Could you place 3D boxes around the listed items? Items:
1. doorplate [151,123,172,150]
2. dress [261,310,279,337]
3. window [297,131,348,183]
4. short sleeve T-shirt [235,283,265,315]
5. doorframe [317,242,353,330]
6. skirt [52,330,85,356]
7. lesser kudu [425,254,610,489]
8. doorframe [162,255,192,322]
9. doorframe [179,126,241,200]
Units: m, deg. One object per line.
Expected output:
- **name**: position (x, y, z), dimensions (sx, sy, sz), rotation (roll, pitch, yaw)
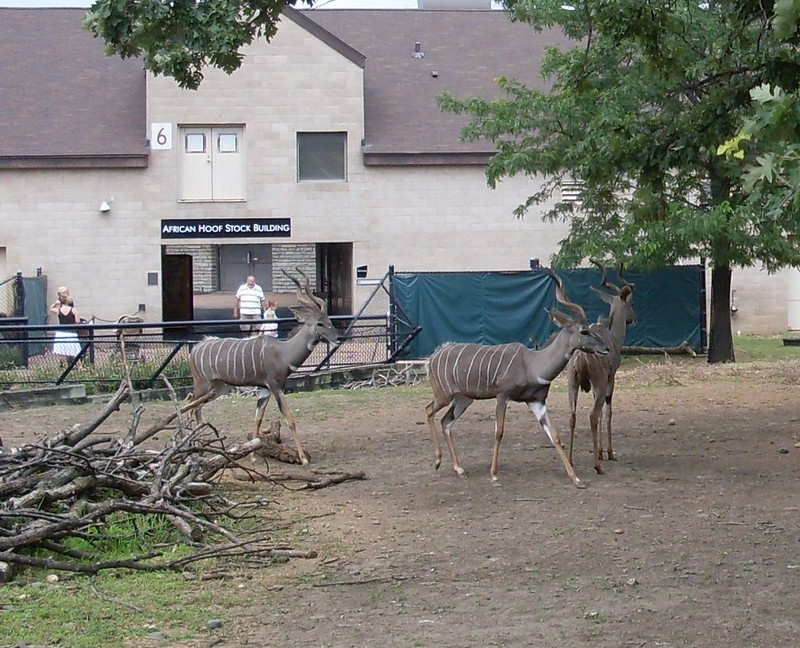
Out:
- **doorplate**: position (-6.052, -4.725, 30.980), dimensions (0.587, 0.841, 0.065), rotation (0, -4, -6)
- **dress**: position (-2.479, 0.009, 23.273), dimensions (0.291, 0.411, 0.901), rotation (1, -14, -7)
- **window**: position (-2.030, -4.298, 31.762), dimensions (1.293, 1.368, 0.125), rotation (0, -11, -4)
- **short sleeve T-shirt**: position (-3.250, -0.588, 26.617), dimensions (0.774, 0.976, 0.532), rotation (1, -15, -11)
- **doorframe**: position (-1.654, -1.015, 31.960), dimensions (0.350, 2.321, 2.070), rotation (-4, 7, -24)
- **skirt**: position (-5.846, 0.377, 21.542), dimensions (0.428, 0.468, 0.111), rotation (2, -7, -13)
- **lesser kudu**: position (1.345, 0.647, 15.059), dimensions (2.112, 2.623, 0.993), rotation (1, 8, 7)
- **doorframe**: position (-6.276, -1.017, 34.434), dimensions (0.852, 2.213, 0.253), rotation (-5, 35, -17)
- **doorframe**: position (-4.934, -4.085, 31.372), dimensions (1.681, 2.137, 0.213), rotation (0, -1, -11)
